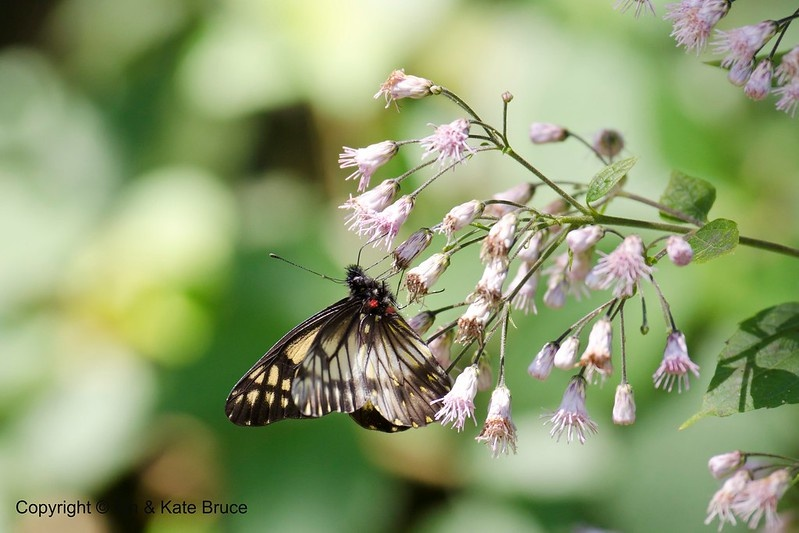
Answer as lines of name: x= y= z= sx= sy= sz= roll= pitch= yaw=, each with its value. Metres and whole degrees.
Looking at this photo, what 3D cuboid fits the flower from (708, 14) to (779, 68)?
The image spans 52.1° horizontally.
flower: x=2.064 y=-1.363 z=4.843 sx=0.251 sy=0.157 sz=0.374 roll=-13 pitch=-4 yaw=-44
